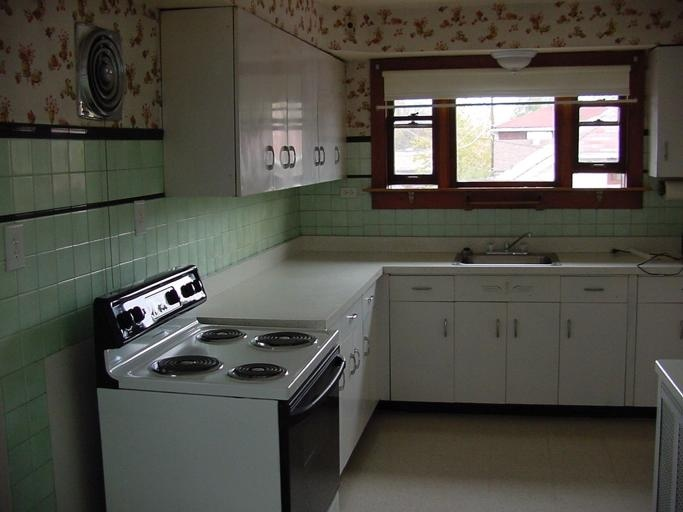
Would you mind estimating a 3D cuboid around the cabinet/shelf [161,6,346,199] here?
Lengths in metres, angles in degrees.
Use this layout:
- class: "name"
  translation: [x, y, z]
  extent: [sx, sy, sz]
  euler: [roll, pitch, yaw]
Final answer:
- class: "cabinet/shelf"
  translation: [-0.452, -0.863, 3.215]
  extent: [0.415, 0.922, 1.433]
  euler: [3, 13, 21]

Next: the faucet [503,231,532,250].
- class: "faucet"
  translation: [1.418, -0.123, 4.368]
  extent: [0.264, 0.109, 0.052]
  euler: [-17, 17, -11]

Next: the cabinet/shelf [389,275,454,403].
- class: "cabinet/shelf"
  translation: [0.626, 0.516, 4.204]
  extent: [0.559, 1.073, 0.628]
  euler: [3, 17, 15]

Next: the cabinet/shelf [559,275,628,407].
- class: "cabinet/shelf"
  translation: [1.855, 0.559, 4.070]
  extent: [0.451, 0.979, 0.590]
  euler: [0, 7, 25]
